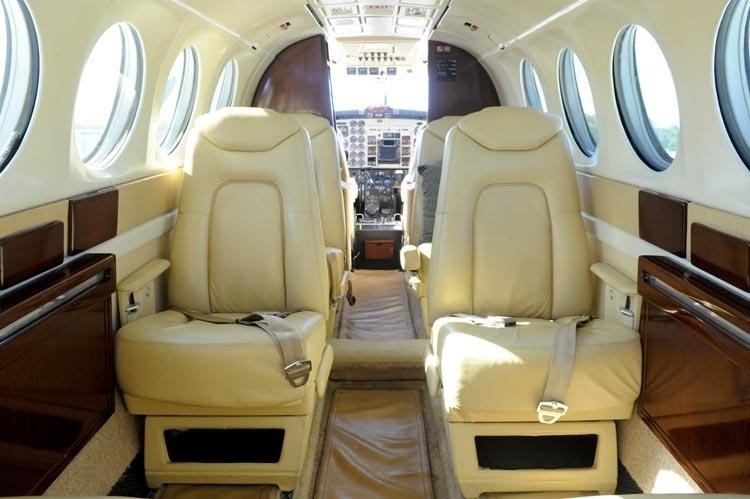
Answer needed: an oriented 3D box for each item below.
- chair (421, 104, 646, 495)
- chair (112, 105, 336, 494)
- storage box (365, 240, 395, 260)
[{"bbox_3d":[0.797,0.232,2.903,1.056,1.945,0.891,3,10,4],"label":"chair"},{"bbox_3d":[-0.774,0.217,2.948,1.048,1.932,0.884,2,10,-4],"label":"chair"},{"bbox_3d":[0.006,0.008,6.376,0.340,0.225,0.199,0,1,-1],"label":"storage box"}]
